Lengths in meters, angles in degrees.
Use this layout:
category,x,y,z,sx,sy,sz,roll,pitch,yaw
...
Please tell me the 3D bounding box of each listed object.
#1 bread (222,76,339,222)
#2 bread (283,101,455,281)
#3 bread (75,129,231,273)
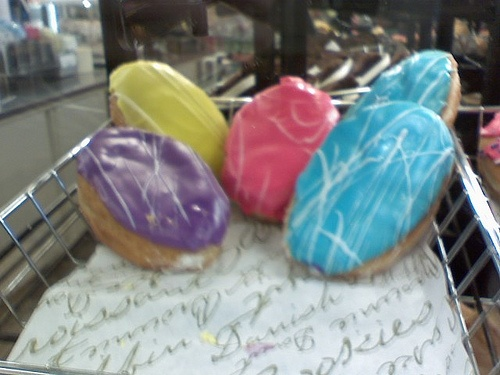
category,x,y,z,sx,sy,sz,roll,pitch,yaw
bread,0.035,-0.027,0.541,0.111,0.165,0.048,27,13,26
bread,0.118,0.003,0.452,0.158,0.141,0.077,-5,26,-3
bread,-0.097,0.010,0.469,0.154,0.058,0.119,39,64,6
